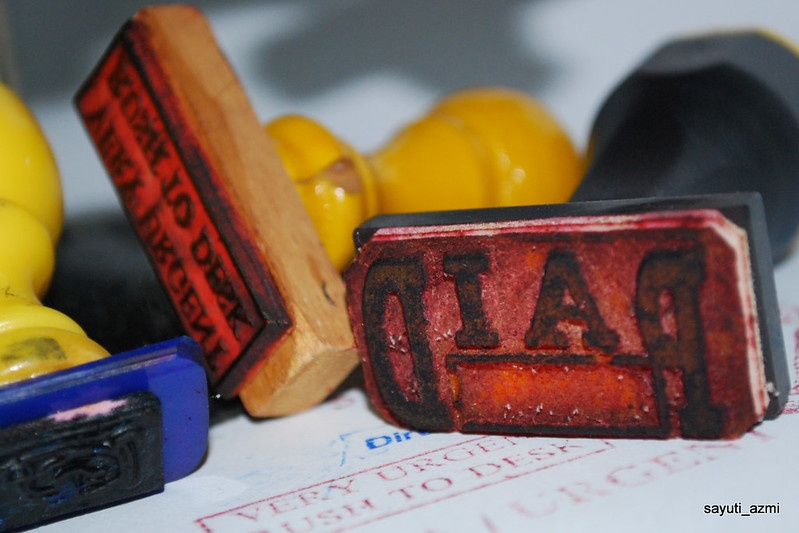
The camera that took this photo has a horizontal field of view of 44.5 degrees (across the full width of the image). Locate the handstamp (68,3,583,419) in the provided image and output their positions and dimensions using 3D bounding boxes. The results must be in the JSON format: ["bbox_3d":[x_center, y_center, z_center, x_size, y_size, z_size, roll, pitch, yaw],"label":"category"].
[{"bbox_3d":[-0.080,-0.068,1.178,0.548,0.190,0.417,-16,66,-31],"label":"handstamp"}]
